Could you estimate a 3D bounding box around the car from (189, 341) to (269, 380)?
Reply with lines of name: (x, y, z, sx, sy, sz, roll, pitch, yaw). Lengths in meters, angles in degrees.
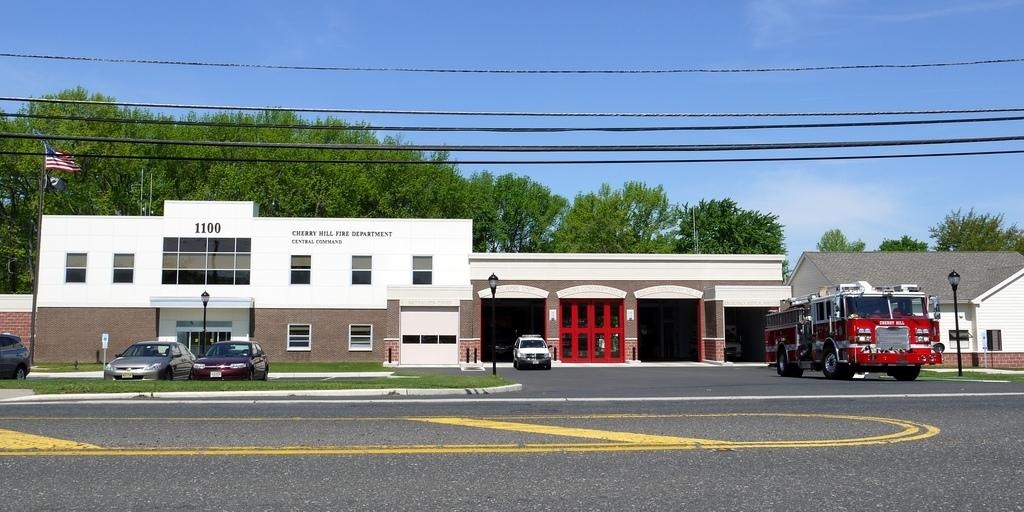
car: (-19.375, 7.073, 75.804, 4.918, 2.579, 2.498, 2, -7, -13)

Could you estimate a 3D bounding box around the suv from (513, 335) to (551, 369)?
suv: (1.520, 7.635, 88.824, 2.213, 2.652, 2.681, 5, -8, -31)
